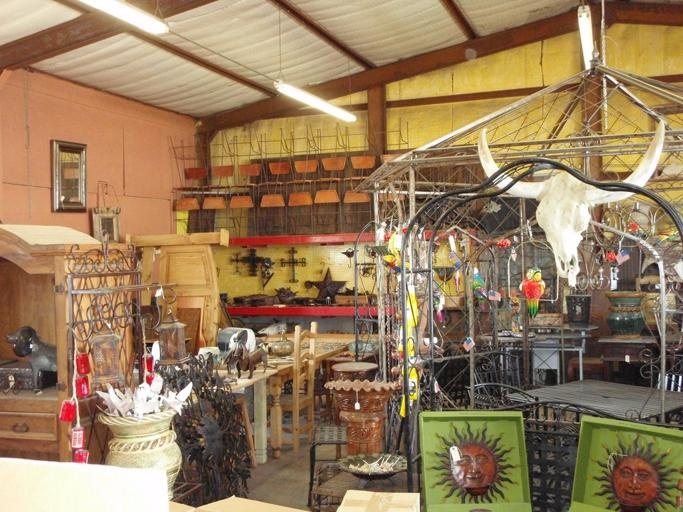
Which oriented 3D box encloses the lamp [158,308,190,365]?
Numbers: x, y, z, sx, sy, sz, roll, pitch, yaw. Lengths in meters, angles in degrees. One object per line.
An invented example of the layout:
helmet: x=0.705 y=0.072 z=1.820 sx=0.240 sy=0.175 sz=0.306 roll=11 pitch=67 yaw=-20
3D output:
lamp: x=-1.511 y=0.727 z=6.362 sx=0.259 sy=0.482 sz=0.408 roll=0 pitch=-5 yaw=-13

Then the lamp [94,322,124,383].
lamp: x=-1.948 y=0.811 z=5.940 sx=0.260 sy=0.508 sz=0.254 roll=1 pitch=-6 yaw=-27

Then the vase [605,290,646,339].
vase: x=4.064 y=0.825 z=10.096 sx=0.713 sy=0.752 sz=0.635 roll=0 pitch=-3 yaw=-2

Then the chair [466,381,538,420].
chair: x=1.744 y=1.616 z=7.781 sx=0.721 sy=0.360 sz=0.592 roll=-6 pitch=-15 yaw=34

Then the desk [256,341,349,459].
desk: x=-0.587 y=1.688 z=9.211 sx=1.318 sy=1.720 sz=1.393 roll=1 pitch=0 yaw=3

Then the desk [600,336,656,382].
desk: x=4.210 y=1.477 z=10.295 sx=0.928 sy=0.859 sz=0.648 roll=0 pitch=4 yaw=22

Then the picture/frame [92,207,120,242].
picture/frame: x=-3.875 y=-0.527 z=11.633 sx=0.064 sy=0.685 sz=0.762 roll=-6 pitch=-6 yaw=22

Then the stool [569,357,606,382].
stool: x=3.887 y=1.768 z=11.130 sx=0.575 sy=0.555 sz=0.553 roll=-1 pitch=1 yaw=7
